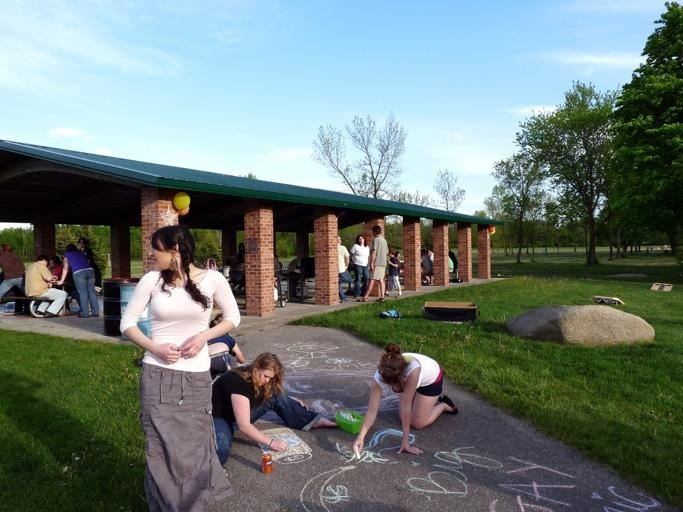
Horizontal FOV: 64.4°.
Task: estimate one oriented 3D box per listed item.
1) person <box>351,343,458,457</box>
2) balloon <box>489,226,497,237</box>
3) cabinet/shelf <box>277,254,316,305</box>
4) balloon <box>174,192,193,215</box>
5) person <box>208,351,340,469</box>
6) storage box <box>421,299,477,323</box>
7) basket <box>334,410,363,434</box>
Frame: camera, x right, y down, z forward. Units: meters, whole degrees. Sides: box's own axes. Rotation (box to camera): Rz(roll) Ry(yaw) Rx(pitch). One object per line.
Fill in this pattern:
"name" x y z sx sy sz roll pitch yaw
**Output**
"person" 0.743 1.516 6.257 0.594 1.203 1.549 11 22 40
"balloon" 7.763 -1.370 27.966 0.287 0.490 1.216 1 10 10
"cabinet/shelf" -1.507 0.922 17.373 1.784 1.452 1.264 0 5 -16
"balloon" -3.394 -1.118 11.516 0.348 0.470 0.381 -1 10 0
"person" -0.968 1.592 5.998 1.115 0.958 1.905 2 -1 30
"storage box" 2.435 1.237 12.251 1.100 0.314 0.837 0 10 4
"basket" 0.090 2.005 6.551 0.256 0.104 0.181 1 3 44
